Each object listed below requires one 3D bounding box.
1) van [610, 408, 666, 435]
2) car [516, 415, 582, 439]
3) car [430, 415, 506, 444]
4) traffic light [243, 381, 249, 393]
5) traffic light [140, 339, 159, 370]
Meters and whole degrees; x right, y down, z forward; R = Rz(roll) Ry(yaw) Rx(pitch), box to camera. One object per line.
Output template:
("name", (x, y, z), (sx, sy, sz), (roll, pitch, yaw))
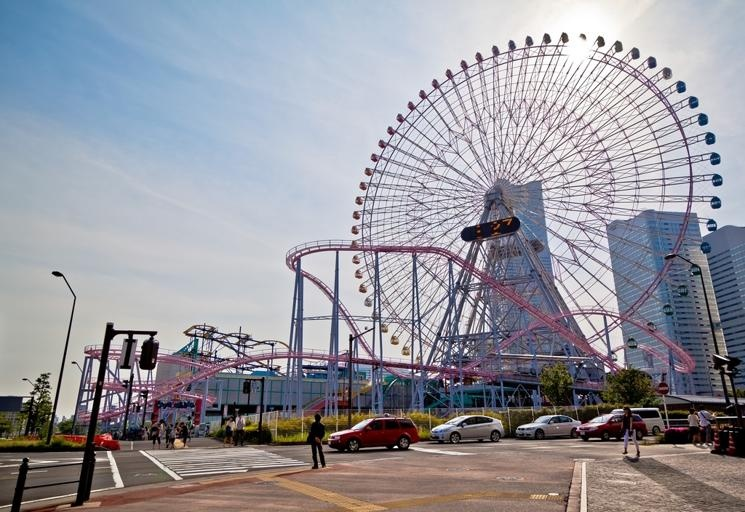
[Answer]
("van", (18.290, 11.365, 31.761), (3.532, 1.696, 2.068), (3, -15, 0))
("car", (12.133, 11.782, 32.350), (4.184, 1.283, 1.826), (7, -17, -18))
("car", (6.135, 11.062, 30.017), (3.879, 1.336, 1.950), (5, -18, -12))
("traffic light", (-9.940, 10.118, 36.762), (0.393, 0.937, 2.206), (5, -19, -17))
("traffic light", (-7.444, 3.213, 15.548), (0.535, 1.128, 1.675), (8, -20, -24))
